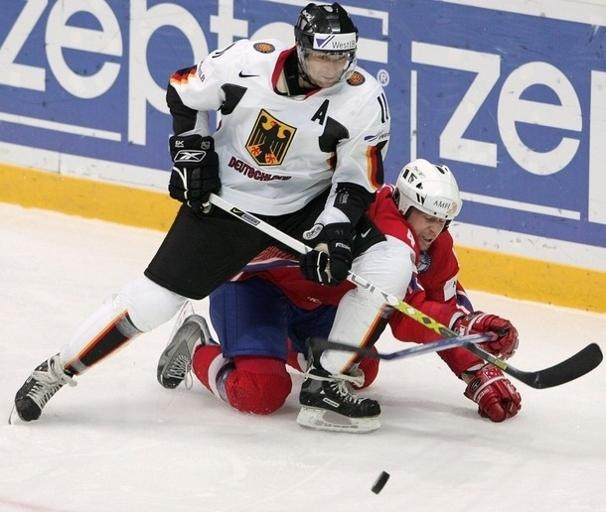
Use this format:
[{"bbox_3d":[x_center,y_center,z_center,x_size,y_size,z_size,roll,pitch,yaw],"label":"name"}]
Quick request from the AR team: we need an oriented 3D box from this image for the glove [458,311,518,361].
[{"bbox_3d":[0.673,0.269,3.106,0.216,0.143,0.097,28,40,10],"label":"glove"}]

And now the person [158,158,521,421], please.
[{"bbox_3d":[0.056,0.092,3.696,1.776,1.120,0.789,7,10,23],"label":"person"}]

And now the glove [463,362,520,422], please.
[{"bbox_3d":[0.731,0.532,3.313,0.236,0.179,0.126,50,2,15],"label":"glove"}]

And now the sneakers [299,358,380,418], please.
[{"bbox_3d":[0.116,0.498,3.204,0.409,0.205,0.134,8,4,4],"label":"sneakers"}]

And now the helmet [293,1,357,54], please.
[{"bbox_3d":[0.074,-0.814,3.001,0.194,0.170,0.214,-5,15,-17],"label":"helmet"}]

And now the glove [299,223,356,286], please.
[{"bbox_3d":[0.089,0.005,2.973,0.183,0.107,0.219,-8,58,-5],"label":"glove"}]
